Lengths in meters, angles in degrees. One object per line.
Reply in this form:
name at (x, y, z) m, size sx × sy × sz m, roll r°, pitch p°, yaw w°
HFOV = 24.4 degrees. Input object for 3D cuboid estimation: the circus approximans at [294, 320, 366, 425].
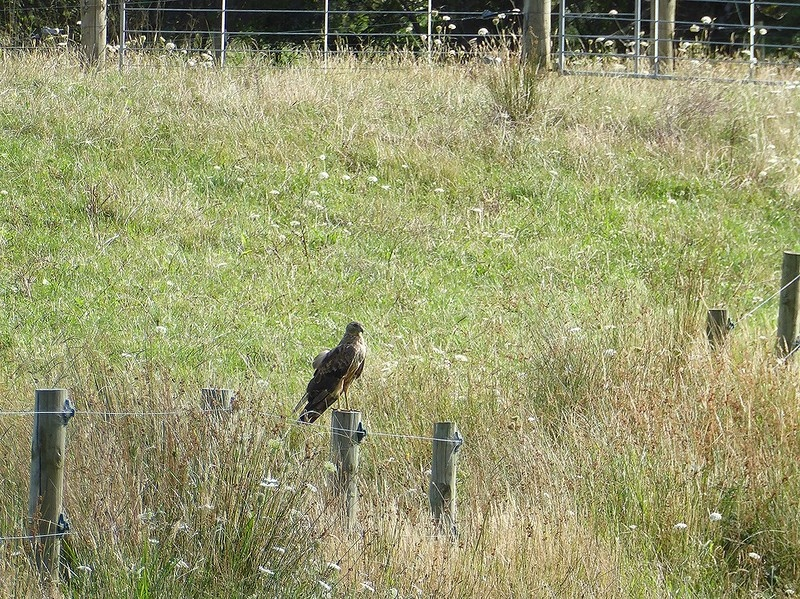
circus approximans at (-0.685, 0.790, 17.962) m, size 0.662 × 1.177 × 0.451 m, roll -2°, pitch -16°, yaw 18°
